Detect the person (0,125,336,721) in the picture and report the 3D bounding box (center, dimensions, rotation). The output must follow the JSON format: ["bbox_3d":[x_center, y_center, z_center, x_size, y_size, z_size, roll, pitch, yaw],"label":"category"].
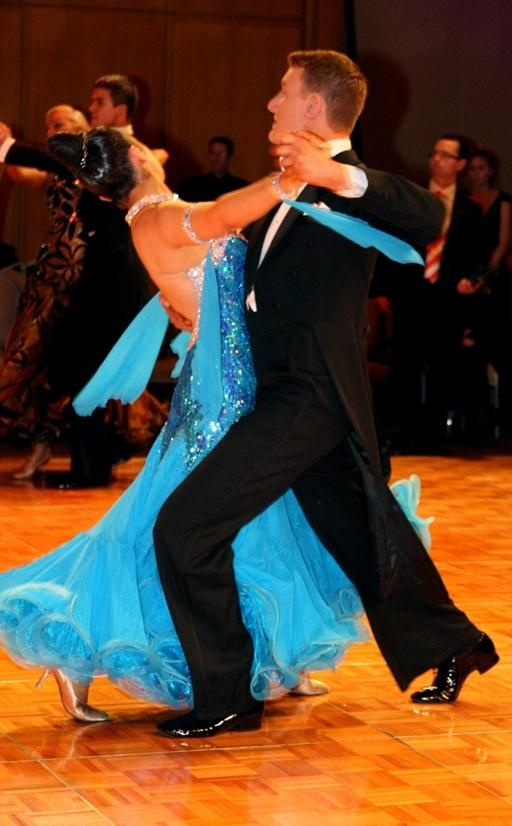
[{"bbox_3d":[0.001,0.054,2.108,1.237,1.396,0.808,-4,5,-14],"label":"person"}]

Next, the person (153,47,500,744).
[{"bbox_3d":[0.176,-0.043,1.506,0.723,1.396,0.481,3,-7,-34],"label":"person"}]
